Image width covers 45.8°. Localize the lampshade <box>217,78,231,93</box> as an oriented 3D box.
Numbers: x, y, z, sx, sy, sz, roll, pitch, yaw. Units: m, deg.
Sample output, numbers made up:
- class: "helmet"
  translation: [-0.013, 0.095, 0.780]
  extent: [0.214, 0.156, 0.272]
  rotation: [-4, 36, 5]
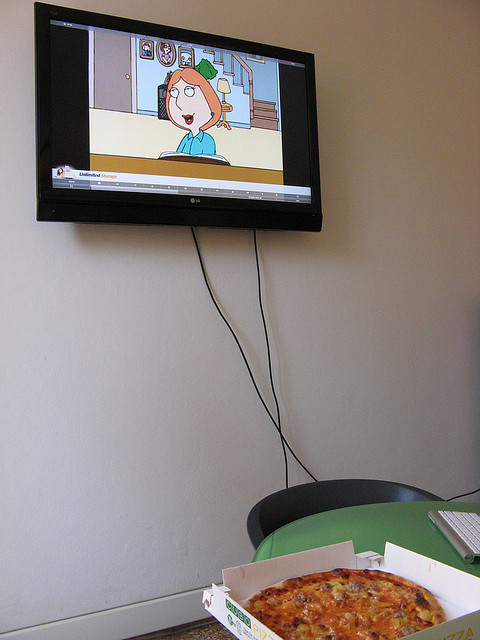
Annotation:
- class: "lampshade"
  translation: [-0.063, -0.875, 2.112]
  extent: [0.043, 0.085, 0.041]
  rotation: [-17, 23, -40]
